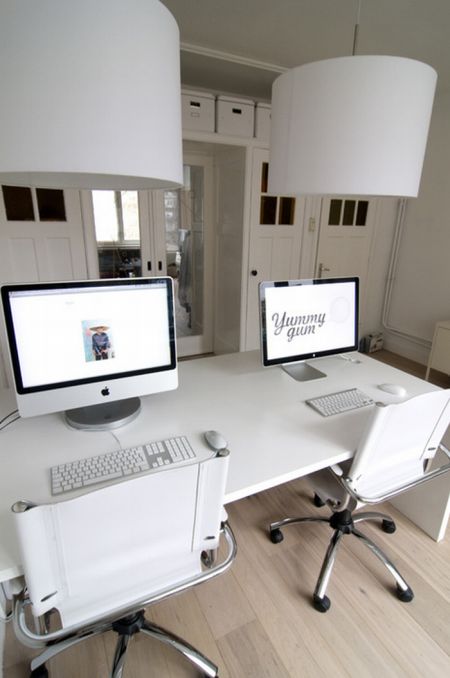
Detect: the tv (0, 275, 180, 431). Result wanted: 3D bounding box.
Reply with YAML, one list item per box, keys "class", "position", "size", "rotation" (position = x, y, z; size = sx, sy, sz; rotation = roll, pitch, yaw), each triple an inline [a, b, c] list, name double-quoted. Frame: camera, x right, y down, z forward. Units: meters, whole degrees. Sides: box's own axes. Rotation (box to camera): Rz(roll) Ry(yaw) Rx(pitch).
- class: "tv"
  position: [-0.386, 0.050, 1.323]
  size: [0.345, 0.348, 0.154]
  rotation: [-12, 26, -29]

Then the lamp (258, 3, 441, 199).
- class: "lamp"
  position: [0.328, -0.560, 1.263]
  size: [0.454, 0.399, 0.471]
  rotation: [1, 21, -3]

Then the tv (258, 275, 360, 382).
- class: "tv"
  position: [0.336, -0.037, 1.814]
  size: [0.324, 0.322, 0.099]
  rotation: [-13, 22, -26]
